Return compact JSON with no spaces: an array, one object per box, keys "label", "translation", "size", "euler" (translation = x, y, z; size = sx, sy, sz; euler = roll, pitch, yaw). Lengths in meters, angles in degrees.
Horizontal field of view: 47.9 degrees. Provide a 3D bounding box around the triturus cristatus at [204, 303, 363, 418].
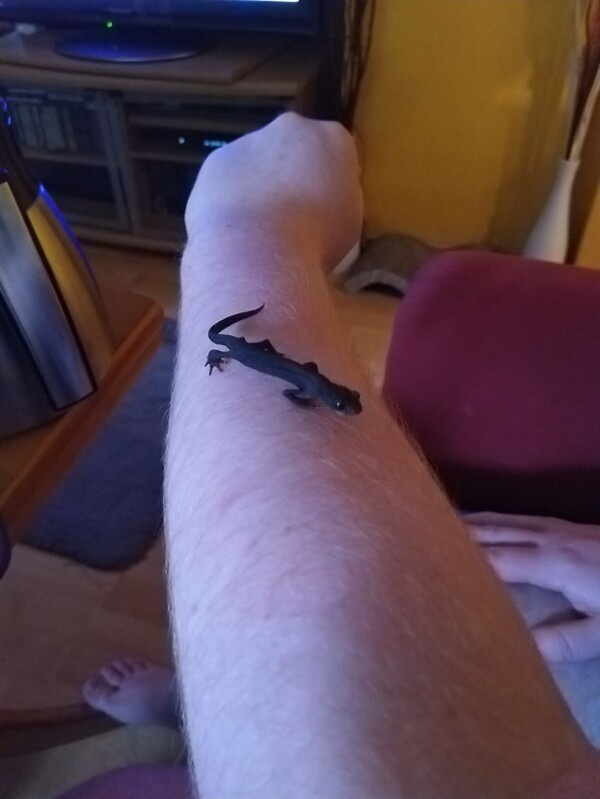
[{"label":"triturus cristatus","translation":[-0.025,-0.026,0.585],"size":[0.150,0.026,0.085],"euler":[24,28,37]}]
